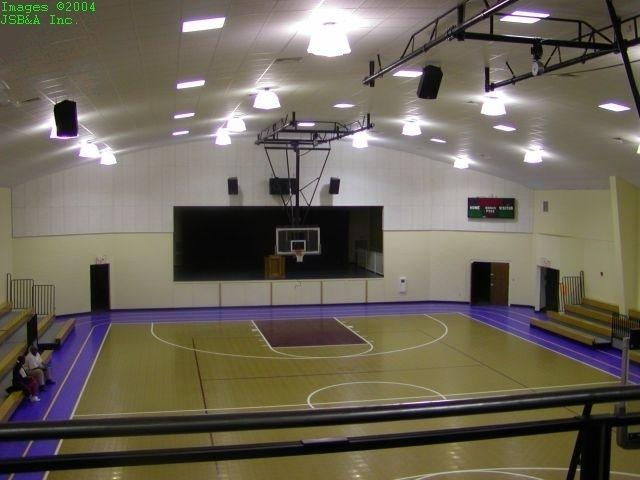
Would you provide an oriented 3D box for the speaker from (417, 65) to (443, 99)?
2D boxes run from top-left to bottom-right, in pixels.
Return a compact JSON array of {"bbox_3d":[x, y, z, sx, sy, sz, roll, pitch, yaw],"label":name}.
[{"bbox_3d":[2.102,-3.088,9.501,0.432,0.606,0.385,-1,4,-10],"label":"speaker"}]

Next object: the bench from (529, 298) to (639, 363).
[{"bbox_3d":[9.339,2.720,17.048,1.896,1.321,3.896,-1,4,-13],"label":"bench"}]

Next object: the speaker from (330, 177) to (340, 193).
[{"bbox_3d":[0.650,-2.473,21.992,0.456,0.756,0.464,0,4,0],"label":"speaker"}]

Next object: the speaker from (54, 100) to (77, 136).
[{"bbox_3d":[-4.387,-2.132,8.429,0.340,0.668,0.450,-2,5,-29],"label":"speaker"}]

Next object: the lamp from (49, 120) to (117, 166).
[{"bbox_3d":[-6.738,-2.789,13.874,1.641,0.637,1.621,-3,12,-39],"label":"lamp"}]

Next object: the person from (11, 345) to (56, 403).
[{"bbox_3d":[-7.167,3.201,11.854,1.081,1.383,0.975,0,7,1],"label":"person"}]
